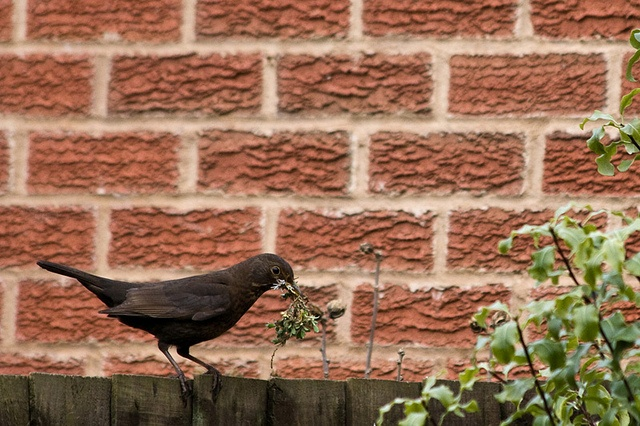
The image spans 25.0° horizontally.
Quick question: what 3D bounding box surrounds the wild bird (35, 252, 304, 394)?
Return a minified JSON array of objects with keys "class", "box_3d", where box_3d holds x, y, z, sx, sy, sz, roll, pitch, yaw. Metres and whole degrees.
[{"class":"wild bird","box_3d":[-0.707,0.502,6.812,1.289,0.635,0.288,5,-1,18]}]
